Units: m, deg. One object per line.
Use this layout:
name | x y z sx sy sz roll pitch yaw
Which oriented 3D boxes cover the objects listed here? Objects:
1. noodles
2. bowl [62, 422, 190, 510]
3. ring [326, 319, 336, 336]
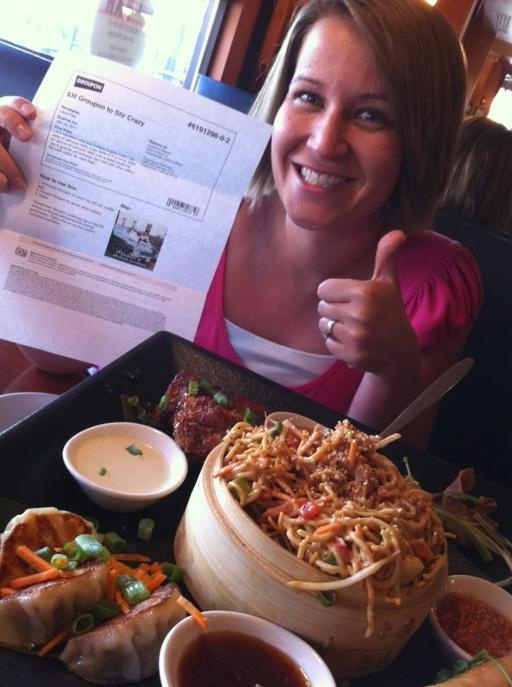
noodles | 0.101 0.219 0.942 0.436 0.246 0.323 -3 14 -11
bowl | -0.251 0.237 1.069 0.214 0.070 0.262 21 16 5
ring | 0.200 -0.044 1.489 0.027 0.039 0.035 -10 65 -10
